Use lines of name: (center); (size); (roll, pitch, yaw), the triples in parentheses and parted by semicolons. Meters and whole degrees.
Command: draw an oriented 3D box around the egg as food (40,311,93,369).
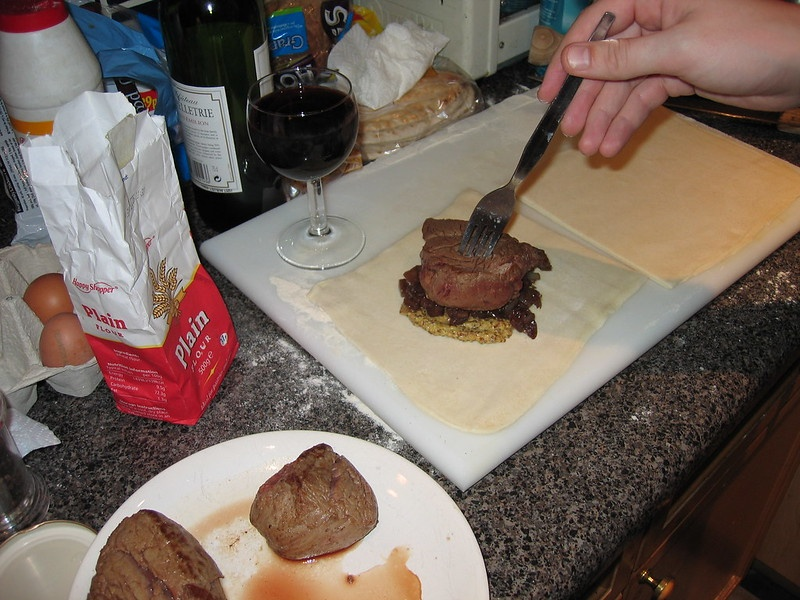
egg as food: (-0.532, 0.054, 1.009); (0.077, 0.106, 0.080); (-9, 6, -24)

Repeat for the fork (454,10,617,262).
fork: (0.297, -0.349, 1.366); (0.089, 0.754, 0.061); (26, -4, -6)

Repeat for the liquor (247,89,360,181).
liquor: (-0.178, -0.304, 1.148); (0.209, 0.173, 0.214); (0, 12, -24)

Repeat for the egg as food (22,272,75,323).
egg as food: (-0.586, 0.000, 1.037); (0.063, 0.051, 0.050); (59, 20, 6)

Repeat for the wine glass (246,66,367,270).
wine glass: (-0.190, -0.242, 1.205); (0.207, 0.387, 0.229); (-6, 44, 0)

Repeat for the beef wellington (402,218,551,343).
beef wellington: (0.141, -0.046, 1.146); (0.272, 0.104, 0.210); (20, 51, 13)

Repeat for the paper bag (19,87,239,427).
paper bag: (-0.376, -0.032, 0.917); (0.209, 0.463, 0.217); (-21, 51, -22)
